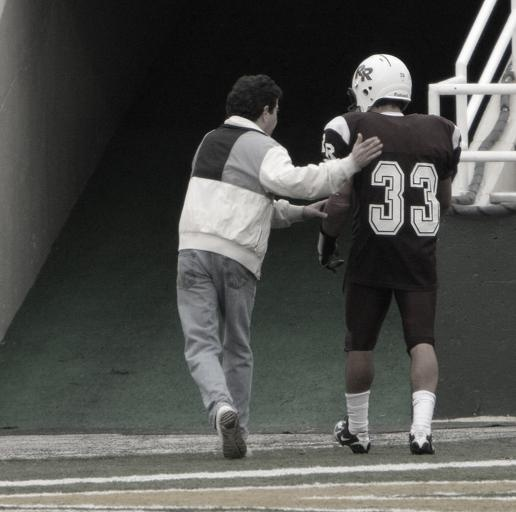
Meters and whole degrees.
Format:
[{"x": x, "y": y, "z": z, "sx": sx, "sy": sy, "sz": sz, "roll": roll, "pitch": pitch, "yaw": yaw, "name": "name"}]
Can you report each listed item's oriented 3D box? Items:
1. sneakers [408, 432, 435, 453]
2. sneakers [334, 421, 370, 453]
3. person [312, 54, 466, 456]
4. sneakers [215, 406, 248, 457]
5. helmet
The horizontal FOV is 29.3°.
[{"x": 0.697, "y": 0.805, "z": 4.182, "sx": 0.112, "sy": 0.087, "sz": 0.116, "roll": 3, "pitch": 16, "yaw": 14, "name": "sneakers"}, {"x": 0.423, "y": 0.845, "z": 4.546, "sx": 0.081, "sy": 0.113, "sz": 0.222, "roll": -2, "pitch": 21, "yaw": -25, "name": "sneakers"}, {"x": 0.566, "y": 0.151, "z": 4.394, "sx": 0.618, "sy": 1.526, "sz": 0.772, "roll": 2, "pitch": 15, "yaw": 10, "name": "person"}, {"x": -0.113, "y": 0.758, "z": 4.220, "sx": 0.090, "sy": 0.261, "sz": 0.117, "roll": -13, "pitch": 24, "yaw": 8, "name": "sneakers"}, {"x": 0.578, "y": -0.810, "z": 4.613, "sx": 0.315, "sy": 0.292, "sz": 0.267, "roll": 8, "pitch": 9, "yaw": 44, "name": "helmet"}]
